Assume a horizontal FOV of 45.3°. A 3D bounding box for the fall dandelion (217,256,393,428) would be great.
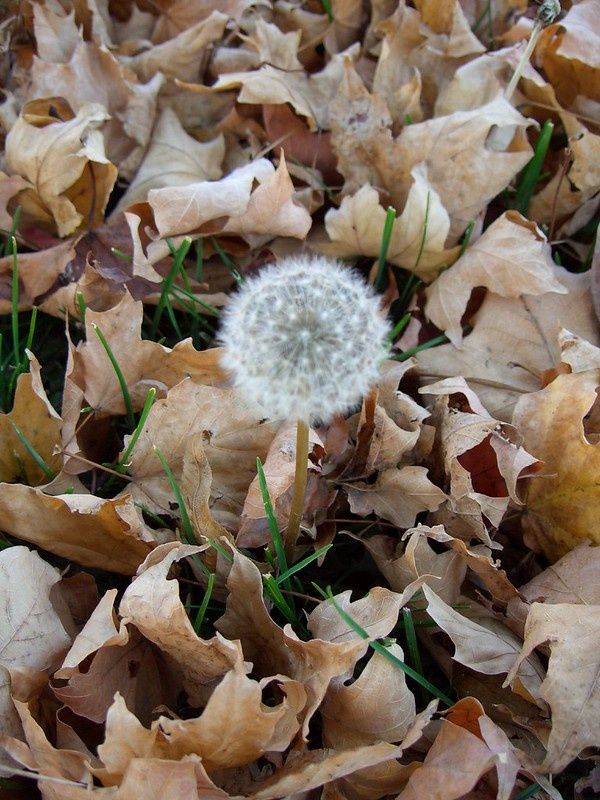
[{"bbox_3d":[0.016,-0.138,1.459,0.328,0.388,0.379,15,86,2],"label":"fall dandelion"}]
